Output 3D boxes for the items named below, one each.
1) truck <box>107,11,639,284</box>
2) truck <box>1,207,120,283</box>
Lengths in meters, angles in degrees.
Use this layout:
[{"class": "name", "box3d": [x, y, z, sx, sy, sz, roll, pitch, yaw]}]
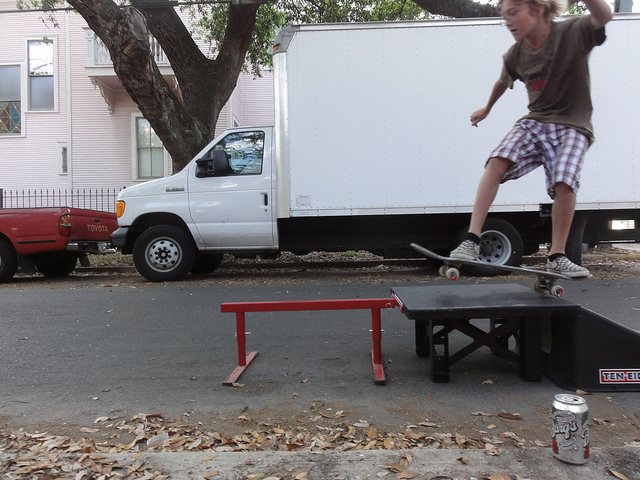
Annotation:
[{"class": "truck", "box3d": [0.723, -1.650, 12.770, 11.778, 5.168, 3.924, 1, 1, 0]}, {"class": "truck", "box3d": [-5.396, 0.081, 12.120, 2.469, 0.977, 1.444, 1, 1, 4]}]
